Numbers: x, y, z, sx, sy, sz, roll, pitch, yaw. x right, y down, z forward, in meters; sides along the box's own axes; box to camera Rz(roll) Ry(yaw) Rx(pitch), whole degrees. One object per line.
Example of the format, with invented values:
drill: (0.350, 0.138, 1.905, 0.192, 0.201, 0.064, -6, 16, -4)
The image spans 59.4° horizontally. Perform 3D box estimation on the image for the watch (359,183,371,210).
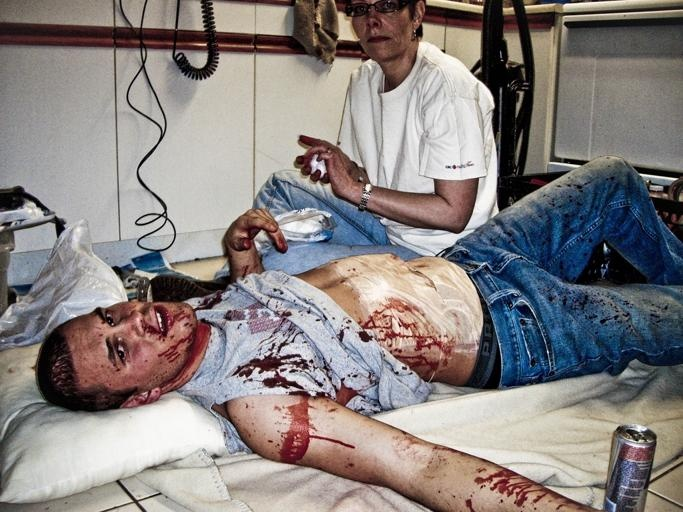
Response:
watch: (0.090, -0.228, 2.309, 0.042, 0.083, 0.079, 10, 10, 1)

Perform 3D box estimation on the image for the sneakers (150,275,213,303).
sneakers: (-0.674, 0.126, 2.424, 0.180, 0.056, 0.136, -7, 4, -30)
